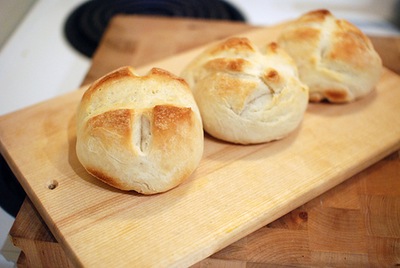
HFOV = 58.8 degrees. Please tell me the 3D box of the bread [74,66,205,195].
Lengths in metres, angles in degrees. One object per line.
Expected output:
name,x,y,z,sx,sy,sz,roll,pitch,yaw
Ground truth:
bread,-0.191,-0.025,1.121,0.392,0.152,0.396,-4,61,1
